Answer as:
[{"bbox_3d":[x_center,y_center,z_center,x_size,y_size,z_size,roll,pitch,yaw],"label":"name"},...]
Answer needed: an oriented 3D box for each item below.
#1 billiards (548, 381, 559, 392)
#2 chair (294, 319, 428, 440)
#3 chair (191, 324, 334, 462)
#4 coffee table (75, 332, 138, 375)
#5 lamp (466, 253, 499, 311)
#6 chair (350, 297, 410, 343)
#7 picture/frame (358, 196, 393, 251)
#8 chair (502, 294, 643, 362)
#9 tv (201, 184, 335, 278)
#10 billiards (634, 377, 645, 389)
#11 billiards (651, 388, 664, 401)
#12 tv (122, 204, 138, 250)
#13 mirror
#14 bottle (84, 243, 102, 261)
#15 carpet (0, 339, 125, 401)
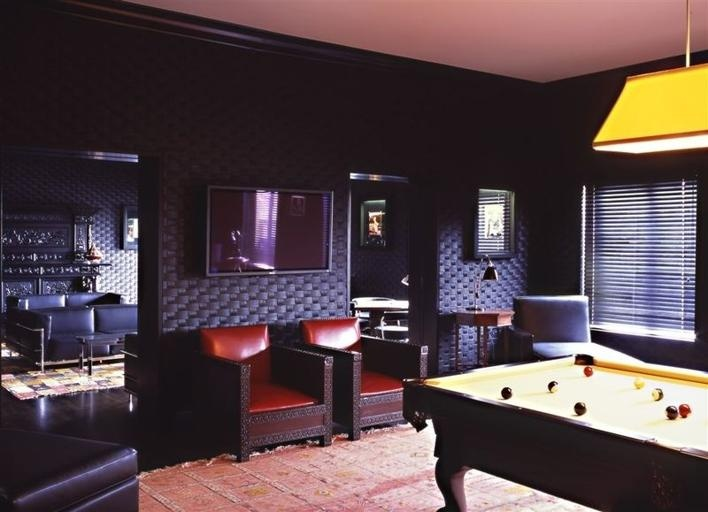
[{"bbox_3d":[1.183,0.776,3.378,0.059,0.064,0.056,15,-6,-30],"label":"billiards"},{"bbox_3d":[0.104,1.127,5.640,0.933,1.076,1.233,1,-4,-30],"label":"chair"},{"bbox_3d":[-0.941,1.130,5.059,0.881,1.024,1.217,1,-4,-30],"label":"chair"},{"bbox_3d":[-3.235,1.258,7.298,0.755,0.465,0.382,0,5,-35],"label":"coffee table"},{"bbox_3d":[1.628,0.319,7.067,0.352,0.669,0.905,1,2,14],"label":"lamp"},{"bbox_3d":[0.385,0.940,8.727,0.759,1.068,0.827,3,-5,-13],"label":"chair"},{"bbox_3d":[0.433,-0.611,10.957,1.030,1.374,0.161,-4,-6,42],"label":"picture/frame"},{"bbox_3d":[2.430,0.821,6.431,0.909,1.211,1.132,0,-6,-1],"label":"chair"},{"bbox_3d":[-0.926,-0.261,5.685,1.028,0.645,0.045,1,-2,-31],"label":"tv"},{"bbox_3d":[1.737,0.762,3.394,0.060,0.065,0.060,2,-6,-23],"label":"billiards"},{"bbox_3d":[1.728,0.777,3.204,0.064,0.068,0.063,2,-4,39],"label":"billiards"},{"bbox_3d":[-4.572,-0.566,11.432,0.272,0.896,0.084,-1,3,-37],"label":"tv"},{"bbox_3d":[1.755,-0.462,7.310,1.023,1.150,0.148,1,-3,-28],"label":"mirror"},{"bbox_3d":[-5.004,-0.072,10.910,0.339,0.287,0.339,-1,-1,15],"label":"bottle"},{"bbox_3d":[-3.690,1.501,7.159,1.394,0.191,1.915,0,2,-24],"label":"carpet"}]
